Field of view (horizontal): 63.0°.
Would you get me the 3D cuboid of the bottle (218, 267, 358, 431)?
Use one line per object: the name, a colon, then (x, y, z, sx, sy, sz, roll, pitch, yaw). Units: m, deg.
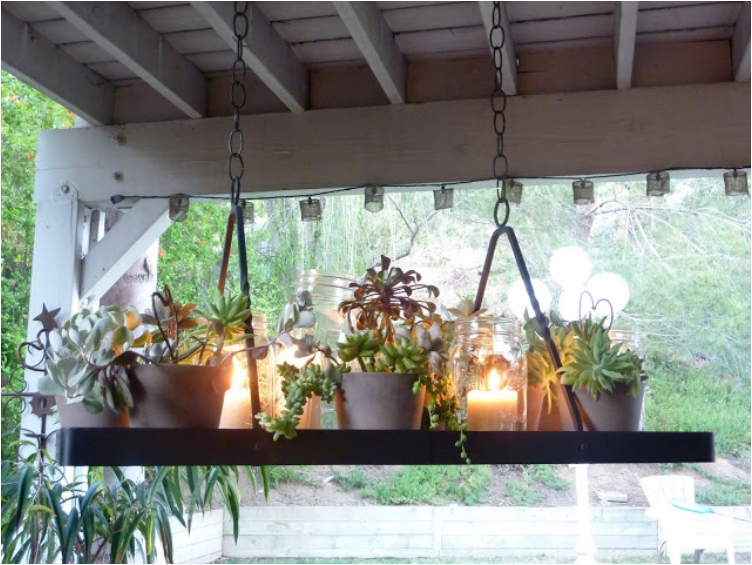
bottle: (-0.153, 0.135, 1.236, 0.190, 0.329, 0.309, 3, -16, -9)

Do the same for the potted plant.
potted plant: (-0.247, 0.120, 1.147, 0.697, 0.266, 0.486, 2, -8, -10)
